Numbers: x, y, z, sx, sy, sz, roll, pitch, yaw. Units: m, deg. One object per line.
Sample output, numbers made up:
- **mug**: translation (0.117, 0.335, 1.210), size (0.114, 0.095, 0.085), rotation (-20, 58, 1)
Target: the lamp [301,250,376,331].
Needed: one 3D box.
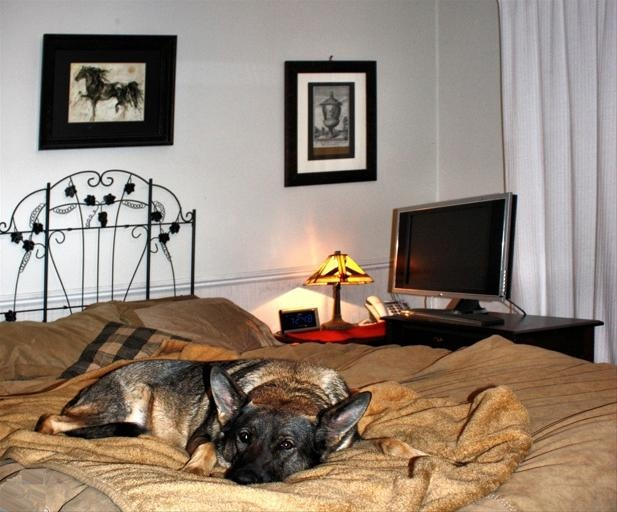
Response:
- **lamp**: translation (0.192, 0.250, 4.047), size (0.551, 0.507, 0.490), rotation (-2, -9, -5)

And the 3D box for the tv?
- **tv**: translation (0.976, 0.033, 3.656), size (0.503, 0.743, 1.068), rotation (1, 1, -36)

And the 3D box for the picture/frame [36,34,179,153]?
- **picture/frame**: translation (-1.336, -1.053, 3.513), size (0.913, 0.684, 0.058), rotation (-2, 11, -25)
